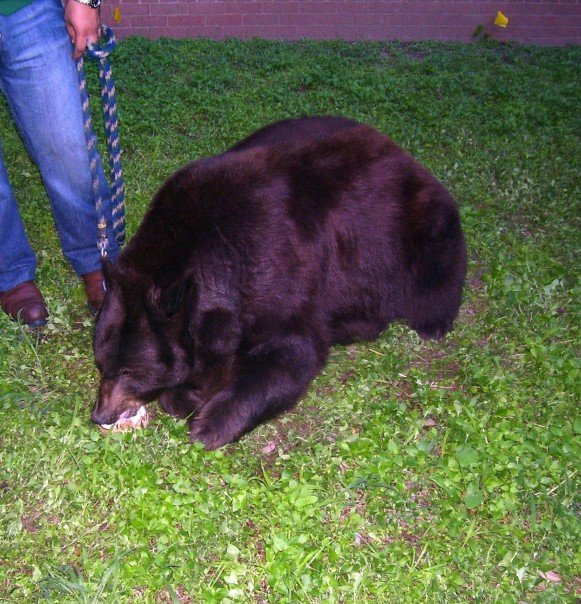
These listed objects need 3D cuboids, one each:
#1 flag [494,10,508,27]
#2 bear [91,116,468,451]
[{"bbox_3d":[3.232,-4.346,9.415,0.194,0.215,0.191,-6,-6,22],"label":"flag"},{"bbox_3d":[-0.168,-0.195,3.424,2.164,1.246,1.300,-40,49,-11],"label":"bear"}]
